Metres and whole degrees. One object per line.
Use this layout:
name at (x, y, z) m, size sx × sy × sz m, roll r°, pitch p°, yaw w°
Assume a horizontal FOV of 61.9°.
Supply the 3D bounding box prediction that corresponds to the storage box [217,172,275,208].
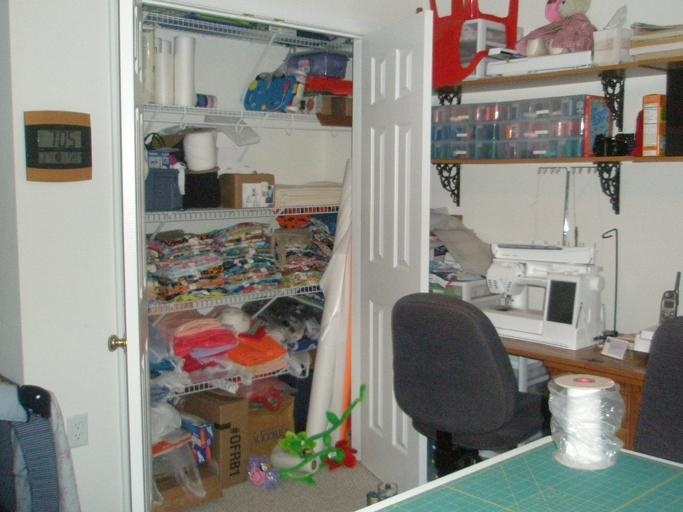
storage box at (-0.588, -0.379, 3.561) m, size 0.339 × 0.189 × 0.329 m, roll -3°, pitch 0°, yaw -9°

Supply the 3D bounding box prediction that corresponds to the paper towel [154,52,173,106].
paper towel at (-0.989, -0.989, 3.144) m, size 0.103 × 0.320 × 0.082 m, roll -1°, pitch 6°, yaw -16°

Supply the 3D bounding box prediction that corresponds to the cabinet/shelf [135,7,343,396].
cabinet/shelf at (-0.533, -0.290, 3.546) m, size 1.440 × 2.272 × 1.208 m, roll -5°, pitch 8°, yaw -21°

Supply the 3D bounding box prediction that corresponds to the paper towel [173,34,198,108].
paper towel at (-0.880, -1.009, 3.145) m, size 0.122 × 0.402 × 0.207 m, roll -4°, pitch 8°, yaw -7°

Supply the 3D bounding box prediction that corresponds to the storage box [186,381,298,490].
storage box at (-0.539, 1.037, 3.440) m, size 0.432 × 0.536 × 0.570 m, roll -6°, pitch 1°, yaw 44°
